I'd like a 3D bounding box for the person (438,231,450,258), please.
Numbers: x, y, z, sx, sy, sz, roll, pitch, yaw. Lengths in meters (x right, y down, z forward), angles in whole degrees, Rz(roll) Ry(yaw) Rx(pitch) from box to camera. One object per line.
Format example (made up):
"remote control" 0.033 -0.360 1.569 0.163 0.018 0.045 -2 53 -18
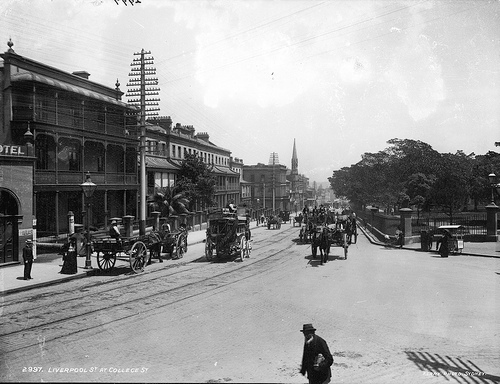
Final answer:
"person" 12.035 3.235 34.171 0.552 1.470 1.142 3 9 20

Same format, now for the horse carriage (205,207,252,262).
"horse carriage" -1.345 2.506 33.625 2.022 3.139 3.807 2 -3 13

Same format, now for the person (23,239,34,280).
"person" -10.843 3.275 26.845 0.435 1.947 0.696 -4 10 -24

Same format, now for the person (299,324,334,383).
"person" 2.092 5.303 17.564 0.966 1.974 0.757 7 12 41

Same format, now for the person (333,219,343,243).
"person" 5.352 2.386 33.484 0.271 1.355 0.753 3 8 12

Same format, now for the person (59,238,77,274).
"person" -9.603 3.298 28.846 0.893 1.442 2.413 -4 9 -20

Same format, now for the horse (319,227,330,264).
"horse" 4.258 3.005 31.490 0.413 2.193 1.319 3 9 19

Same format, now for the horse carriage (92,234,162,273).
"horse carriage" -6.689 3.210 28.645 2.871 2.117 2.165 -3 9 -18

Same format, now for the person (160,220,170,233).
"person" -5.025 2.059 32.614 0.632 0.795 0.629 -2 -1 -33

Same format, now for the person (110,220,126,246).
"person" -6.748 2.119 27.881 0.509 1.088 1.120 -7 11 -38

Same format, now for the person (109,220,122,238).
"person" -6.885 1.933 27.929 0.421 0.733 0.938 -4 9 -20
